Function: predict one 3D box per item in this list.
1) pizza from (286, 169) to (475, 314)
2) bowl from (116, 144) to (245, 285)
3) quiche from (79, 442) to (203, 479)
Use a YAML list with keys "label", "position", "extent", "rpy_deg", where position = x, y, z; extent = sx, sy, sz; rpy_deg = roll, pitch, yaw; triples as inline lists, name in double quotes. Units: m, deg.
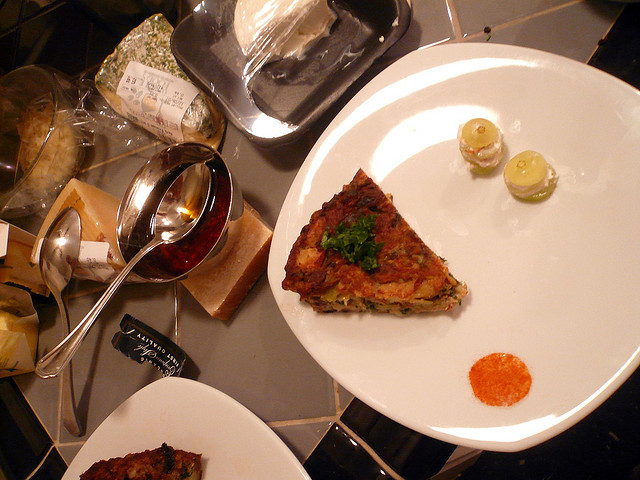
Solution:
- label: "pizza"
  position: [0.225, 0.177, 2.587]
  extent: [0.650, 0.158, 0.862]
  rpy_deg: [-45, 78, 2]
- label: "bowl"
  position: [-0.580, -0.050, 2.903]
  extent: [0.298, 0.541, 0.585]
  rpy_deg: [6, 69, 40]
- label: "quiche"
  position: [-0.860, 1.119, 2.699]
  extent: [0.278, 0.110, 0.300]
  rpy_deg: [-12, 40, -12]
